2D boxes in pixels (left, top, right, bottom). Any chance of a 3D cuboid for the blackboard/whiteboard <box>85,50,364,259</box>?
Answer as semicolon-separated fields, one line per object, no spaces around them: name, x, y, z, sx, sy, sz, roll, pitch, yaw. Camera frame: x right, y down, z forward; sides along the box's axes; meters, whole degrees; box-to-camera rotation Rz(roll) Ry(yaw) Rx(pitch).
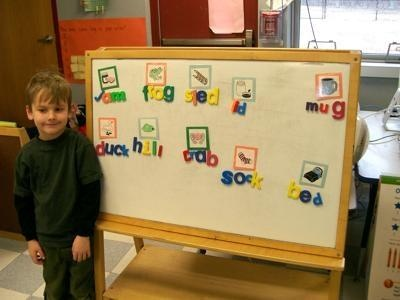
blackboard/whiteboard;0.047;-0.019;1.702;1.262;0.967;0.107;5;10;12
